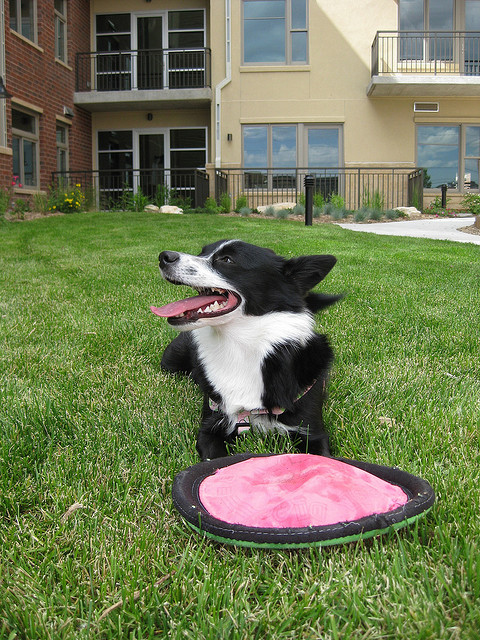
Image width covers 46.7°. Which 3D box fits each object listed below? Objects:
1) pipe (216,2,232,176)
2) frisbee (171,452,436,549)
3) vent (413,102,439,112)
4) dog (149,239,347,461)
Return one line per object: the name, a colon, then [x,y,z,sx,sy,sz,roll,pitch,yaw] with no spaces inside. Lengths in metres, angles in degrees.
pipe: [-0.478,-7.474,17.692,0.774,5.120,0.299,-6,9,-35]
frisbee: [0.148,0.427,1.373,0.633,0.090,0.428,0,9,13]
vent: [5.855,-6.758,17.542,0.545,0.338,0.141,-1,4,-1]
dog: [-0.013,0.090,2.396,0.784,0.765,1.393,8,2,7]
